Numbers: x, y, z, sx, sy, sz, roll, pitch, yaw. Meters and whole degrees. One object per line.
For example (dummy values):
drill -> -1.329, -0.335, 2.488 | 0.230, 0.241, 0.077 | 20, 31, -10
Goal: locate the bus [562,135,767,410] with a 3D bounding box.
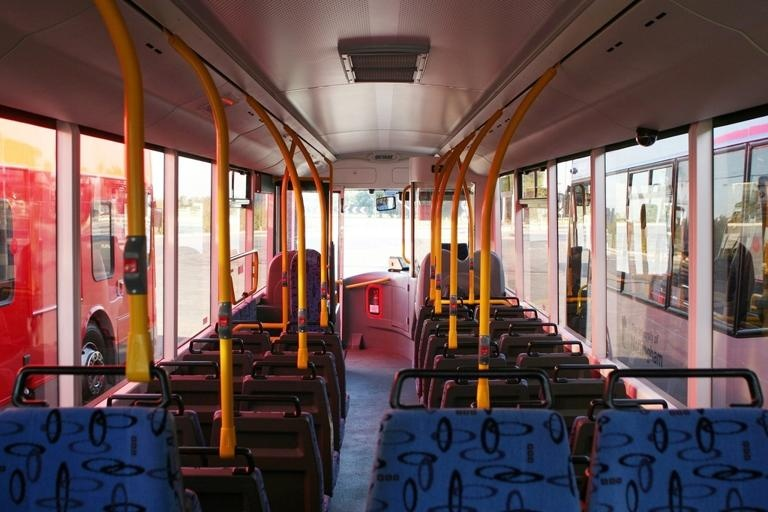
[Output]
bus -> 2.661, 0.152, 5.271 | 0.970, 2.437, 2.600 | 0, 2, -5

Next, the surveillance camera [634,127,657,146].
surveillance camera -> 2.433, -1.105, 5.234 | 0.147, 0.141, 0.180 | 1, -1, -2

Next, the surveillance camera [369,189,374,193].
surveillance camera -> -0.251, -1.215, 10.571 | 0.066, 0.073, 0.070 | 0, 14, -29
